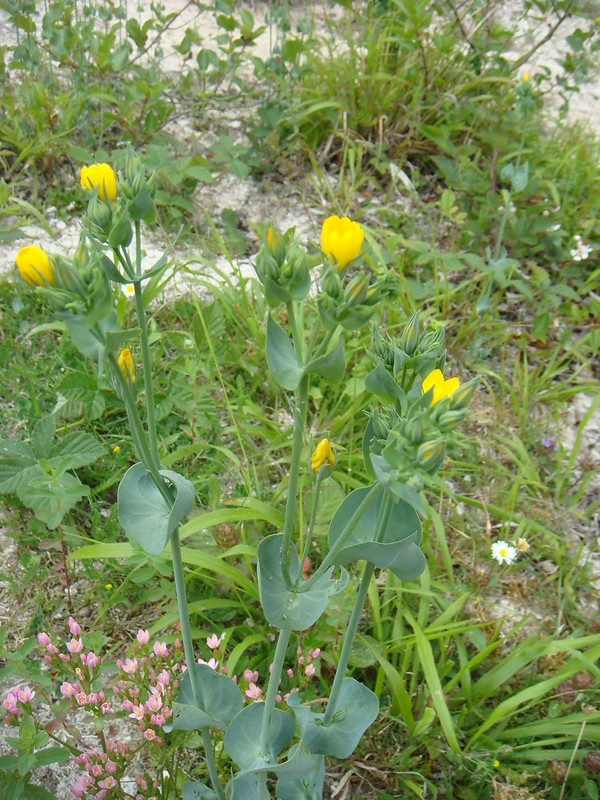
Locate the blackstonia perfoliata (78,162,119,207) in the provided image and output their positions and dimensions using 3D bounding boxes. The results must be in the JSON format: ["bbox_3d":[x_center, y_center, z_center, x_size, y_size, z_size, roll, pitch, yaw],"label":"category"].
[{"bbox_3d":[-0.366,-0.399,1.205,0.060,0.092,0.166,-4,38,-17],"label":"blackstonia perfoliata"}]

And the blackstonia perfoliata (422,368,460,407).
[{"bbox_3d":[0.229,-0.022,1.063,0.058,0.039,0.063,4,59,3],"label":"blackstonia perfoliata"}]

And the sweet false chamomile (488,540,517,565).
[{"bbox_3d":[0.712,0.531,2.345,0.098,0.037,0.091,-6,59,1],"label":"sweet false chamomile"}]

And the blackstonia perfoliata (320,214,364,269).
[{"bbox_3d":[0.064,-0.254,1.104,0.070,0.062,0.094,3,68,4],"label":"blackstonia perfoliata"}]
